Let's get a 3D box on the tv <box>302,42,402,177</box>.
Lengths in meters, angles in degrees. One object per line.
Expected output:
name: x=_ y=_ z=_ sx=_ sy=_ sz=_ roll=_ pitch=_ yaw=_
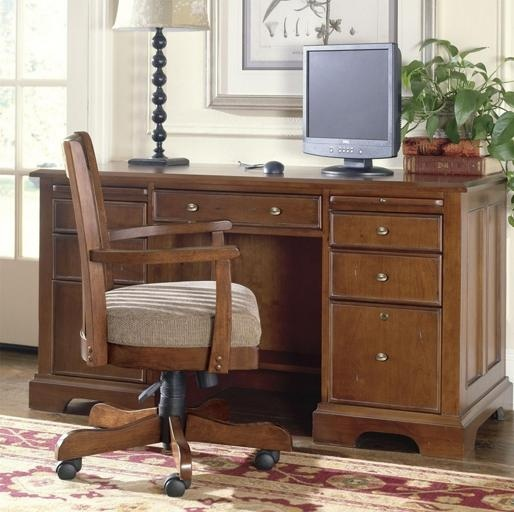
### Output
tv: x=0.324 y=-0.556 z=2.148 sx=0.393 sy=0.424 sz=0.085 roll=3 pitch=3 yaw=41

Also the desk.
desk: x=0.056 y=0.165 z=1.895 sx=1.237 sy=0.523 sz=0.397 roll=1 pitch=3 yaw=18
